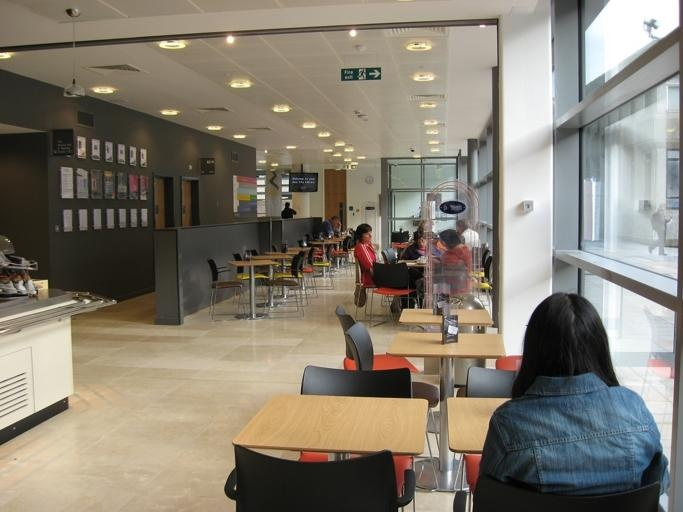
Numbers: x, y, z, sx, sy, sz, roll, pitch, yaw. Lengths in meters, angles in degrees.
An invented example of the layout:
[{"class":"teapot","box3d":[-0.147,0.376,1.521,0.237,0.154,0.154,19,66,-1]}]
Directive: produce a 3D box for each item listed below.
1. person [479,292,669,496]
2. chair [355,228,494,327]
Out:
[{"class":"person","box3d":[0.845,0.566,2.004,0.733,0.810,0.416,-6,6,-1]},{"class":"chair","box3d":[0.909,0.278,8.639,1.336,1.514,1.545,-1,0,2]}]
